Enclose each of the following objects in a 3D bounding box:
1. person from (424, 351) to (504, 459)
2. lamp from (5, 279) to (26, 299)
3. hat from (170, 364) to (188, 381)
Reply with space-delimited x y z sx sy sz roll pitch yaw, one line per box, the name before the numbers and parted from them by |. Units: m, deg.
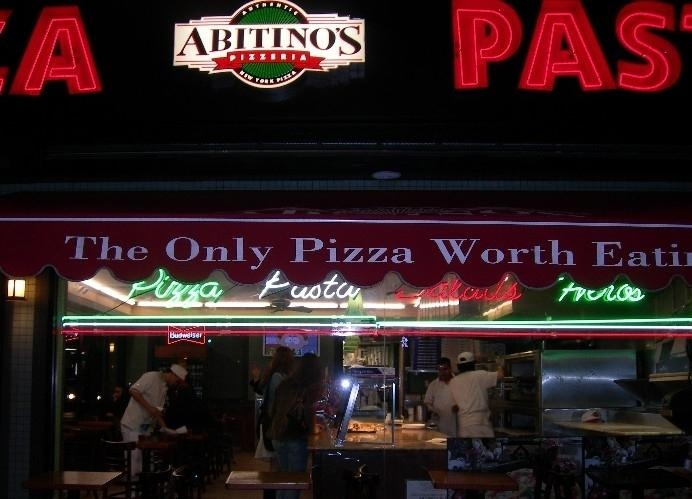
person | 1.621 2.063 12.795 0.967 1.171 0.346 -6 -13 26
lamp | -4.064 0.482 11.002 0.241 0.233 0.225 3 -7 -32
hat | -2.541 1.861 13.586 0.210 0.178 0.257 12 -2 38
